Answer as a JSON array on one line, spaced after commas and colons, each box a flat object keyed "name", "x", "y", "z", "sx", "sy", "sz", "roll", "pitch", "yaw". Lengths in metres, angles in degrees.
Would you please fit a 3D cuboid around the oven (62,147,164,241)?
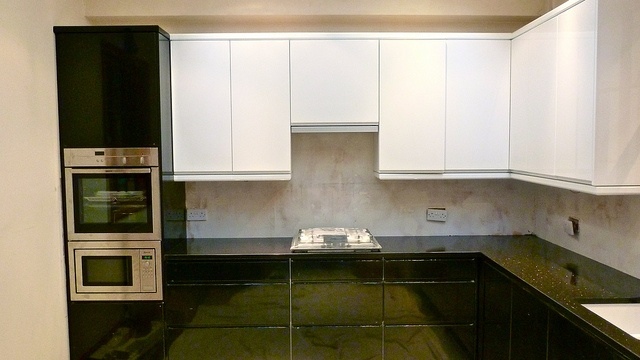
[{"name": "oven", "x": -1.979, "y": 0.162, "z": 5.911, "sx": 1.143, "sy": 1.006, "sz": 0.844, "roll": -1, "pitch": -2, "yaw": 5}]

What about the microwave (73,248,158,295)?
[{"name": "microwave", "x": -1.983, "y": 0.905, "z": 5.825, "sx": 1.008, "sy": 0.559, "sz": 0.518, "roll": -4, "pitch": -4, "yaw": 14}]

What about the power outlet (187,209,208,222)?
[{"name": "power outlet", "x": -1.344, "y": 0.370, "z": 6.093, "sx": 0.238, "sy": 0.137, "sz": 0.119, "roll": 0, "pitch": 1, "yaw": -6}]

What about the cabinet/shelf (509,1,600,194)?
[{"name": "cabinet/shelf", "x": 2.215, "y": -0.804, "z": 5.333, "sx": 0.264, "sy": 1.681, "sz": 0.994, "roll": -8, "pitch": 10, "yaw": -24}]

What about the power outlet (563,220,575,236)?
[{"name": "power outlet", "x": 2.527, "y": 0.478, "z": 5.715, "sx": 0.039, "sy": 0.158, "sz": 0.119, "roll": -6, "pitch": 9, "yaw": -13}]

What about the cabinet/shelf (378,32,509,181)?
[{"name": "cabinet/shelf", "x": 1.223, "y": -0.818, "z": 5.778, "sx": 1.676, "sy": 1.425, "sz": 0.507, "roll": 0, "pitch": 1, "yaw": -1}]

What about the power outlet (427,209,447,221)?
[{"name": "power outlet", "x": 1.265, "y": 0.367, "z": 6.136, "sx": 0.252, "sy": 0.153, "sz": 0.131, "roll": 0, "pitch": -1, "yaw": 1}]

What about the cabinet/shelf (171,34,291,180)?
[{"name": "cabinet/shelf", "x": -0.948, "y": -0.820, "z": 5.740, "sx": 1.655, "sy": 1.713, "sz": 0.634, "roll": 0, "pitch": 0, "yaw": -2}]

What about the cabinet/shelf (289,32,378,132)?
[{"name": "cabinet/shelf", "x": 0.237, "y": -1.000, "z": 6.003, "sx": 1.039, "sy": 0.882, "sz": 0.570, "roll": 4, "pitch": 7, "yaw": 28}]
